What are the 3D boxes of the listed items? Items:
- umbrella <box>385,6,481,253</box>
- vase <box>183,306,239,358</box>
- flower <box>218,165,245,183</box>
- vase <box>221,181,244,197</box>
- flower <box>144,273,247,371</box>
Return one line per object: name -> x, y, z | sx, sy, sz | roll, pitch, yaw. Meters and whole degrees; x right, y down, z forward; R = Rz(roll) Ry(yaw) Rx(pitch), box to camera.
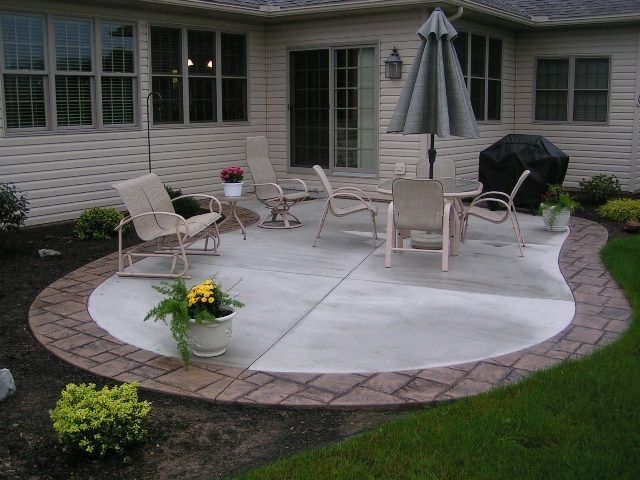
umbrella -> 1.519, -1.913, 6.042 | 1.128, 2.224, 0.703 | 3, 16, 15
vase -> -0.883, 0.735, 3.610 | 0.507, 0.316, 0.492 | -7, 7, -23
flower -> -1.514, -1.091, 7.831 | 0.425, 0.270, 0.406 | -2, 3, -22
vase -> -1.453, -0.848, 7.669 | 0.276, 0.159, 0.272 | -1, 0, -5
flower -> -1.037, 0.590, 3.558 | 0.722, 0.464, 0.693 | 5, 10, 33
